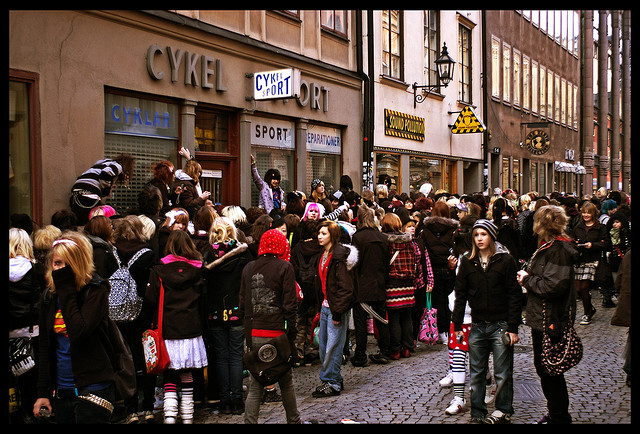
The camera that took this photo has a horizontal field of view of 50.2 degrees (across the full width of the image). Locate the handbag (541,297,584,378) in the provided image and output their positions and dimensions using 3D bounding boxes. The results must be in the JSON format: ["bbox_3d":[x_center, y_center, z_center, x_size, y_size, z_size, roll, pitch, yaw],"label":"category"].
[{"bbox_3d":[2.787,1.375,8.173,0.456,1.134,0.345,-16,32,14],"label":"handbag"}]

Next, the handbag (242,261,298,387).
[{"bbox_3d":[-0.632,1.192,8.137,0.666,1.565,0.293,-10,7,-26],"label":"handbag"}]

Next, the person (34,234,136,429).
[{"bbox_3d":[-2.548,1.217,7.367,1.014,2.066,0.531,0,-2,-17],"label":"person"}]

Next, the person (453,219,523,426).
[{"bbox_3d":[2.092,1.293,8.517,0.840,2.518,0.388,-1,-2,11],"label":"person"}]

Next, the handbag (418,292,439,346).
[{"bbox_3d":[1.773,1.634,11.216,0.283,0.828,0.350,-1,-2,15],"label":"handbag"}]

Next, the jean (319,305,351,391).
[{"bbox_3d":[0.191,1.825,9.567,0.426,1.138,0.430,0,-2,3],"label":"jean"}]

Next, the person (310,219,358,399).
[{"bbox_3d":[0.202,1.263,9.562,0.638,2.404,0.519,0,-2,3],"label":"person"}]

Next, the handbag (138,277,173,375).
[{"bbox_3d":[-2.018,1.307,8.386,0.351,1.148,0.199,-1,-2,22],"label":"handbag"}]

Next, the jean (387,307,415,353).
[{"bbox_3d":[1.301,1.801,11.008,0.195,0.722,0.632,-2,-3,39],"label":"jean"}]

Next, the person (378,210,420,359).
[{"bbox_3d":[1.266,1.095,10.987,0.810,2.332,0.437,1,-3,-40],"label":"person"}]
